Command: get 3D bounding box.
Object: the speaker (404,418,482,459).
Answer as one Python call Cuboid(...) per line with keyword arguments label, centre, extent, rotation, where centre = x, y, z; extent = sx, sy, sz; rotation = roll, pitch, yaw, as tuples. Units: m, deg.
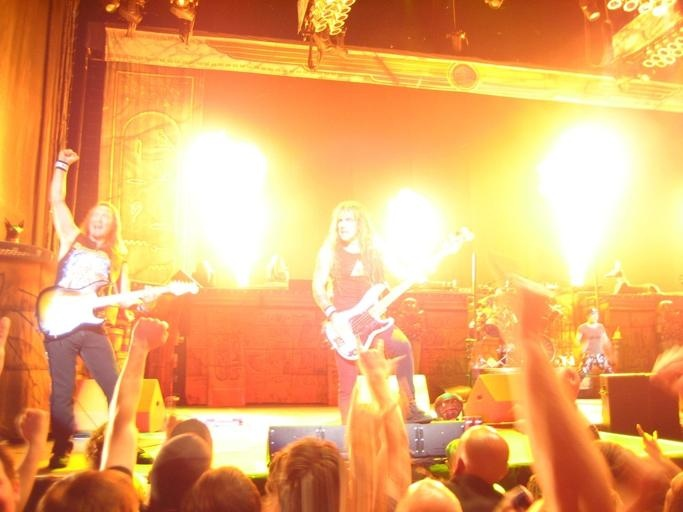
Cuboid(label="speaker", centre=(0.733, 1.395, 4.483), extent=(0.439, 0.184, 0.369), rotation=(0, -13, -7))
